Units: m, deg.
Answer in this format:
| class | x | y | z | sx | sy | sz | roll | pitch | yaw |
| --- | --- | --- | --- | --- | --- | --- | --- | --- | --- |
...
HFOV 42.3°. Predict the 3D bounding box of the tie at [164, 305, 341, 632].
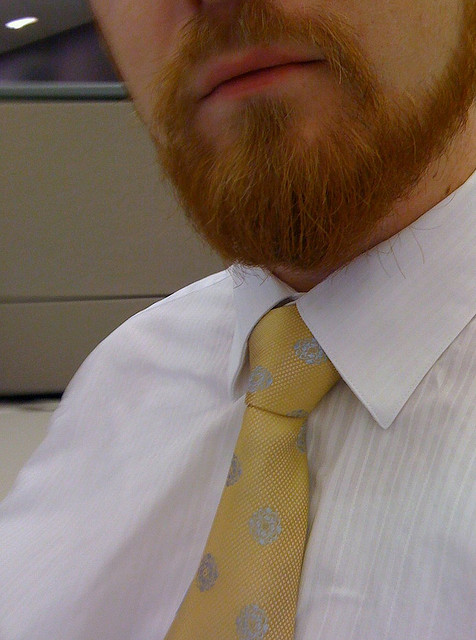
| class | x | y | z | sx | sy | sz | roll | pitch | yaw |
| --- | --- | --- | --- | --- | --- | --- | --- | --- | --- |
| tie | 0.024 | 0.114 | 0.523 | 0.102 | 0.027 | 0.307 | 21 | 56 | 0 |
